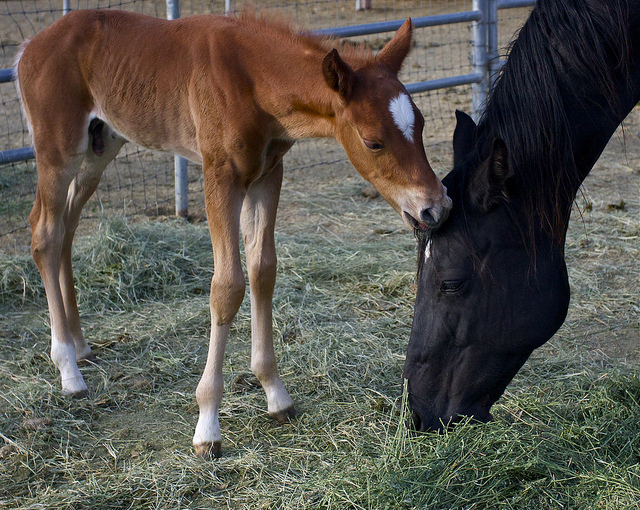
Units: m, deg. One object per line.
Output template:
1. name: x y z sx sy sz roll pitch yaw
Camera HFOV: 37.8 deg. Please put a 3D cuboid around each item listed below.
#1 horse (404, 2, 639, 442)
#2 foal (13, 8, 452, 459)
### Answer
1. horse: 0.893 -0.150 4.264 1.171 1.900 0.504 -7 15 -8
2. foal: -0.475 -0.174 4.565 2.165 2.053 0.701 -2 16 10
